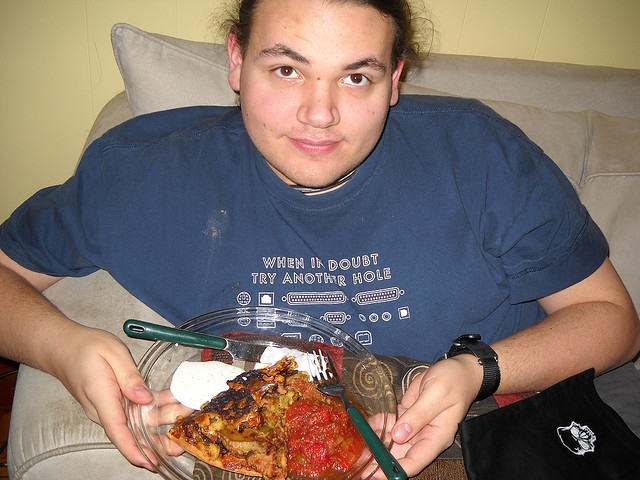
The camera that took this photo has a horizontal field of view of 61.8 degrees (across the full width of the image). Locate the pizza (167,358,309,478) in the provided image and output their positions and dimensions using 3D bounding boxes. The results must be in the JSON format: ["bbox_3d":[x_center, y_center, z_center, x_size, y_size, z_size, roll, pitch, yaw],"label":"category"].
[{"bbox_3d":[-0.189,0.407,1.288,0.293,0.096,0.274,8,39,10],"label":"pizza"}]

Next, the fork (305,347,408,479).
[{"bbox_3d":[0.079,0.417,1.261,0.046,0.038,0.336,-11,52,-29],"label":"fork"}]

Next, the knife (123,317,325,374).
[{"bbox_3d":[-0.237,0.285,1.382,0.043,0.609,0.079,-23,60,33],"label":"knife"}]
